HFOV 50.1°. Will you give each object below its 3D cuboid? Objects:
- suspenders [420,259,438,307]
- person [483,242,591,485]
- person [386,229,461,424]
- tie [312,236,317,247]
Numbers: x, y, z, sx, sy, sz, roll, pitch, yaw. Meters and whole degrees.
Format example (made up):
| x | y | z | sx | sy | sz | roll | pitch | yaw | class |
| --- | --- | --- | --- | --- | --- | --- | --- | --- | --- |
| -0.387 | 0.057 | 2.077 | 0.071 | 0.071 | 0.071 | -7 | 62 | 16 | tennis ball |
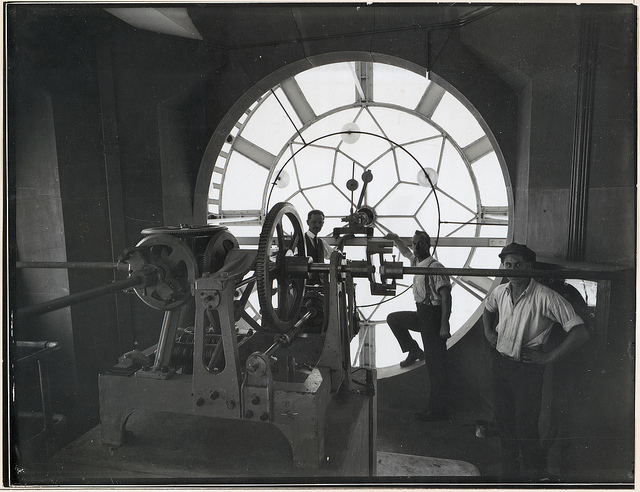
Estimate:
| x | y | z | sx | sy | sz | roll | pitch | yaw | class |
| --- | --- | --- | --- | --- | --- | --- | --- | --- | --- |
| 1.022 | 0.376 | 6.426 | 0.225 | 0.349 | 0.087 | -2 | -7 | 29 | suspenders |
| 1.723 | 1.138 | 5.781 | 0.616 | 1.693 | 1.274 | 0 | -7 | 8 | person |
| 1.024 | 0.724 | 6.363 | 0.588 | 1.922 | 1.442 | 1 | -7 | 1 | person |
| -0.033 | -0.030 | 5.146 | 0.029 | 0.087 | 0.048 | -1 | -7 | 16 | tie |
